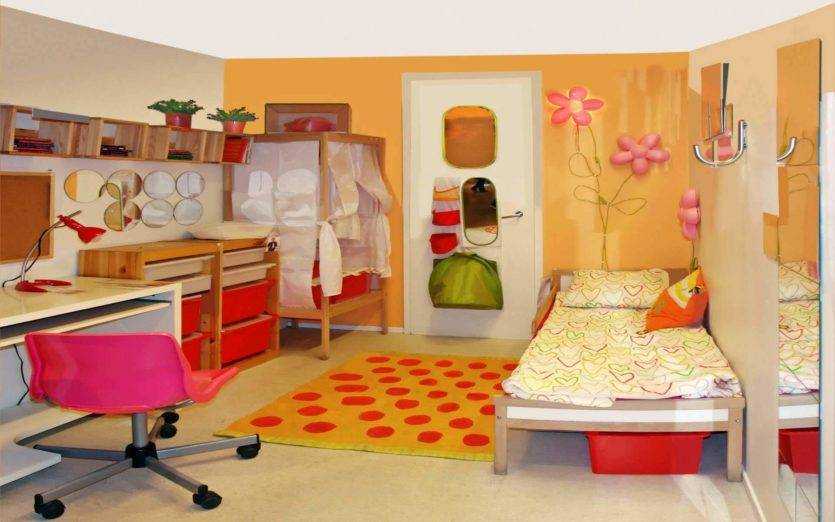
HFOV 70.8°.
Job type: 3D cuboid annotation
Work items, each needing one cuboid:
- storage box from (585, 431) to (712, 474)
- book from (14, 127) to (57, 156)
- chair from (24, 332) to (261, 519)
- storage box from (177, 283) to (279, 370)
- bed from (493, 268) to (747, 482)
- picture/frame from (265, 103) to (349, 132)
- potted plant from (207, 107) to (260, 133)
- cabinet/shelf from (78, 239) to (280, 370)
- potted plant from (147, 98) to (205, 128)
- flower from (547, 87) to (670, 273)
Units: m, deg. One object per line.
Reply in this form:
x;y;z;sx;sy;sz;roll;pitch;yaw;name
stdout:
1.383;1.158;3.506;0.541;0.152;0.334;-1;-6;5;storage box
-2.677;-0.839;4.109;0.163;0.175;0.293;10;15;41;book
-1.611;0.800;3.626;1.203;0.820;1.122;1;15;0;chair
-1.620;0.586;5.190;0.696;0.567;0.929;0;2;12;storage box
1.419;0.778;3.955;1.226;0.480;2.030;1;7;10;bed
-1.114;-1.475;6.008;0.866;0.282;0.288;-2;11;-9;picture/frame
-1.745;-1.342;5.601;0.508;0.205;0.473;-2;0;-12;potted plant
-1.816;0.307;4.434;0.501;0.762;1.234;1;4;17;cabinet/shelf
-2.087;-1.252;5.075;0.410;0.151;0.368;-3;5;-21;potted plant
1.904;-0.843;6.006;1.176;1.822;0.277;4;12;19;flower
